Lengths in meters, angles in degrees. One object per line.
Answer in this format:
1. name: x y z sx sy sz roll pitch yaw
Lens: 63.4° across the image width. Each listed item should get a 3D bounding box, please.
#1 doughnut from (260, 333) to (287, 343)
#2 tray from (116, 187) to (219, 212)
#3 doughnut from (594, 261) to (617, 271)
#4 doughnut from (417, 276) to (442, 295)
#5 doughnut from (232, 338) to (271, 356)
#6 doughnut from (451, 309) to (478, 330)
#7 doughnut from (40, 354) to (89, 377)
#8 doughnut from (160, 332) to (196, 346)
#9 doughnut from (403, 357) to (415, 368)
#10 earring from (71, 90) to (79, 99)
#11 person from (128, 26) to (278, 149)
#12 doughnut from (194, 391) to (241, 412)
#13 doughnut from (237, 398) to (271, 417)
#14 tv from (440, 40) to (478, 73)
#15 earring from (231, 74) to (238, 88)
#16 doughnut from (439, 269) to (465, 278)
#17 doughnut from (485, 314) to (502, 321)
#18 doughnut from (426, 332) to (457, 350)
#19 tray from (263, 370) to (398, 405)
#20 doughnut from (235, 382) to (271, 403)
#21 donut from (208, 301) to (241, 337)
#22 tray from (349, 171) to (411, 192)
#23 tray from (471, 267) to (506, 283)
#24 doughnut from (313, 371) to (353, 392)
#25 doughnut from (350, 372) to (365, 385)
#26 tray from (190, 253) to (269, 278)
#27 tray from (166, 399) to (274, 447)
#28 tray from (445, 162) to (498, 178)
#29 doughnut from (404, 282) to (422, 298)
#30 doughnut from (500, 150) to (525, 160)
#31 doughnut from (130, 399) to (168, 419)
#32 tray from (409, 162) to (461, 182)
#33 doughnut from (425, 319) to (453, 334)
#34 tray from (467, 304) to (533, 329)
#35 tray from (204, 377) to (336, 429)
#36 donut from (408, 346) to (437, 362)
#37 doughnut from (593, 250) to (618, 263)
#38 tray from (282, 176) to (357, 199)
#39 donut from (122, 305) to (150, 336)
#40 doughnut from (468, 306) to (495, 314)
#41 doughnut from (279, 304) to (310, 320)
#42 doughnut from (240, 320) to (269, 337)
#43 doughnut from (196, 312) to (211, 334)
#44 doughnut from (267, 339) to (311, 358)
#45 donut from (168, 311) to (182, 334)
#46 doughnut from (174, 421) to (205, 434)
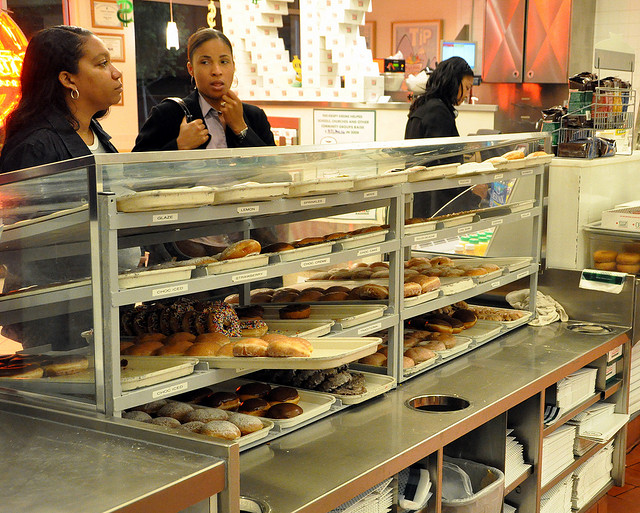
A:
1. doughnut: -0.134 0.241 1.523 0.049 0.014 0.057 0 0 -36
2. tray: -0.379 -0.147 1.303 0.027 0.048 0.260 4 14 43
3. doughnut: 1.679 0.051 3.080 0.057 0.051 0.116 -16 15 -36
4. doughnut: 0.478 0.122 2.259 0.086 0.033 0.083 -12 5 -26
5. doughnut: -0.184 0.255 1.480 0.119 0.034 0.091 -3 11 14
6. doughnut: 0.762 0.324 2.681 0.108 0.056 0.118 -3 0 7
7. doughnut: -0.623 0.267 1.272 0.155 0.067 0.011 -1 16 22
8. doughnut: -0.437 0.251 1.601 0.050 0.014 0.061 2 4 42
9. doughnut: 0.374 0.444 2.172 0.041 0.016 0.038 -8 18 -39
10. earring: -0.872 -0.586 1.868 0.030 0.027 0.016 -1 15 27
11. person: -0.565 -0.798 2.644 0.926 0.600 0.448 1 22 -3
12. doughnut: -0.333 0.465 1.697 0.089 0.035 0.084 -1 -7 -33
13. doughnut: -0.209 0.483 1.664 0.079 0.035 0.066 -11 -12 1
14. tv: 2.000 -2.893 7.440 0.079 0.424 0.700 -23 32 -27
15. earring: -0.982 -2.056 6.067 0.053 0.134 0.132 -15 14 -23
16. doughnut: 0.647 0.082 2.548 0.103 0.021 0.059 0 12 25
17. doughnut: 0.958 0.335 2.849 0.102 0.024 0.055 -13 14 -37
18. doughnut: 0.581 0.400 2.463 0.106 0.027 0.082 -2 4 -42
19. tray: 0.025 0.480 1.894 0.269 0.023 0.265 5 7 37
20. doughnut: -0.217 0.456 1.745 0.071 0.029 0.068 -5 -1 -25
21. donut: -0.338 0.205 1.700 0.039 0.096 0.112 -34 -9 33
22. tray: 0.219 -0.274 1.865 0.141 0.021 0.128 -12 11 -31
23. tray: 0.828 0.087 2.585 0.132 0.023 0.083 -12 12 -39
24. doughnut: 0.062 0.452 1.890 0.085 0.017 0.081 -24 3 -40
25. doughnut: 0.150 0.469 2.008 0.046 0.010 0.039 4 14 -16
26. tray: -0.262 0.026 1.528 0.059 0.046 0.272 4 14 41
27. tray: -0.286 0.530 1.627 0.297 0.030 0.177 3 2 33
28. tray: 0.710 -0.397 2.359 0.160 0.026 0.147 -8 2 -29
29. doughnut: 0.395 0.140 2.161 0.073 0.024 0.065 -1 17 20
30. doughnut: 0.966 -0.509 2.584 0.046 0.047 0.201 3 14 41
31. doughnut: -0.531 0.474 1.623 0.105 0.026 0.102 0 8 0
32. tray: 0.492 -0.358 2.164 0.070 0.053 0.401 2 13 38
33. doughnut: 0.580 0.341 2.530 0.101 0.038 0.082 2 1 13
34. tray: 1.000 0.325 2.905 0.248 0.027 0.157 4 9 31
35. tray: -0.143 0.507 1.836 0.299 0.023 0.194 3 4 25
36. donut: 0.444 0.430 2.271 0.097 0.024 0.089 0 2 16
37. doughnut: 1.683 -0.003 3.066 0.087 0.032 0.088 2 9 40
38. tray: 0.014 -0.230 1.706 0.280 0.058 0.051 -14 14 -40
39. donut: -0.608 0.221 1.751 0.030 0.084 0.111 -2 -4 34
40. doughnut: 0.915 0.300 2.918 0.080 0.018 0.073 -1 3 -34
41. doughnut: -0.096 0.212 2.007 0.111 0.047 0.089 -5 11 5
42. doughnut: -0.221 0.244 1.762 0.068 0.017 0.060 1 5 14
43. doughnut: -0.373 0.214 1.672 0.047 0.055 0.070 -11 12 -14
44. doughnut: -0.086 0.252 1.425 0.116 0.037 0.069 -6 11 -2
45. donut: -0.473 0.218 1.717 0.050 0.065 0.053 -7 12 6
46. doughnut: -0.356 0.478 1.466 0.071 0.012 0.054 5 15 43
